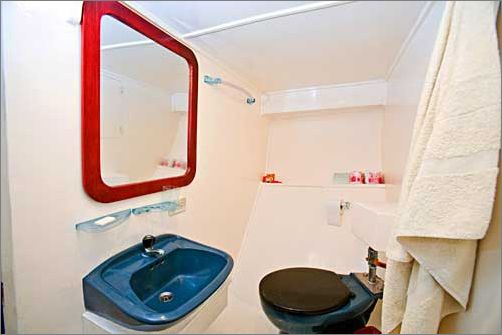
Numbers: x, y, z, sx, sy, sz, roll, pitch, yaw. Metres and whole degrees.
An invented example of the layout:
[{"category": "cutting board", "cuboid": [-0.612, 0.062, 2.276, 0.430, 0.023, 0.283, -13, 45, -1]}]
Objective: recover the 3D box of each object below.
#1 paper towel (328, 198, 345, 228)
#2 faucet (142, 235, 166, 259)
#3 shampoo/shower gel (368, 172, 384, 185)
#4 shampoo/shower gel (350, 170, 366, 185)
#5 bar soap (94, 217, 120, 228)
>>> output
[{"category": "paper towel", "cuboid": [0.754, 0.436, 3.245, 0.186, 0.223, 0.152, 5, 1, -39]}, {"category": "faucet", "cuboid": [-0.571, 0.451, 1.967, 0.147, 0.132, 0.092, 5, 4, 12]}, {"category": "shampoo/shower gel", "cuboid": [1.223, 0.109, 3.393, 0.119, 0.108, 0.118, 0, 2, 12]}, {"category": "shampoo/shower gel", "cuboid": [1.068, 0.107, 3.495, 0.135, 0.119, 0.131, 10, -11, -40]}, {"category": "bar soap", "cuboid": [-0.773, 0.292, 1.846, 0.063, 0.022, 0.110, 6, 5, 8]}]
